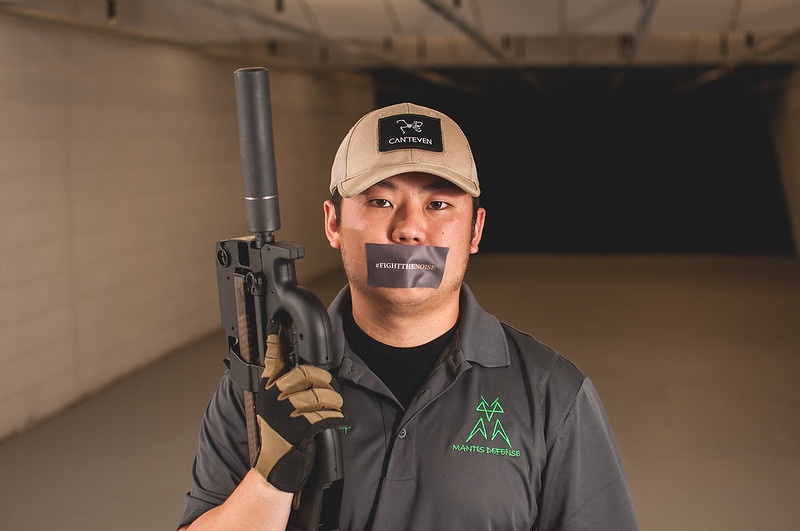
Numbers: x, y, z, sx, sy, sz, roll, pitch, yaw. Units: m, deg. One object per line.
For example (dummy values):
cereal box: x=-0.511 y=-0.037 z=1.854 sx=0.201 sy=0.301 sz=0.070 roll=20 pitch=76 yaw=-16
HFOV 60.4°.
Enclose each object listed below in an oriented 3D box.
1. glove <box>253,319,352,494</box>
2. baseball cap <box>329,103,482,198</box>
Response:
glove: x=-0.328 y=0.444 z=2.209 sx=0.314 sy=0.483 sz=0.185 roll=-9 pitch=-7 yaw=-8
baseball cap: x=0.025 y=-0.375 z=2.210 sx=0.352 sy=0.203 sz=0.367 roll=0 pitch=1 yaw=-5
